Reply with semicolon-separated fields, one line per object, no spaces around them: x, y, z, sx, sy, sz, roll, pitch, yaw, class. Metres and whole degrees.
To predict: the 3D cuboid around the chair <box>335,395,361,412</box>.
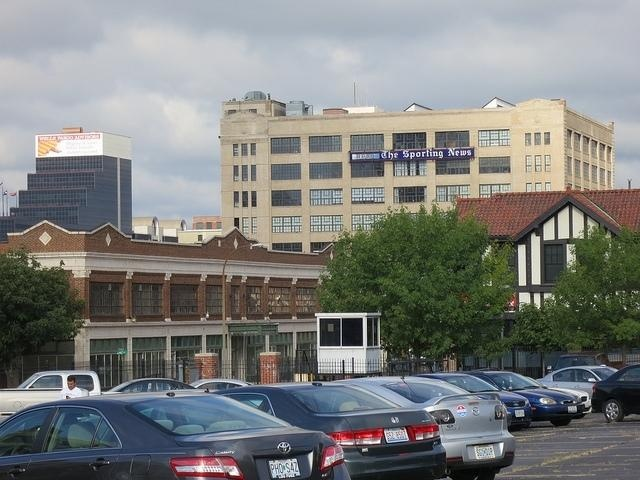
1.008;5.781;57.820;0.536;0.458;0.399;22;-10;-13;chair
